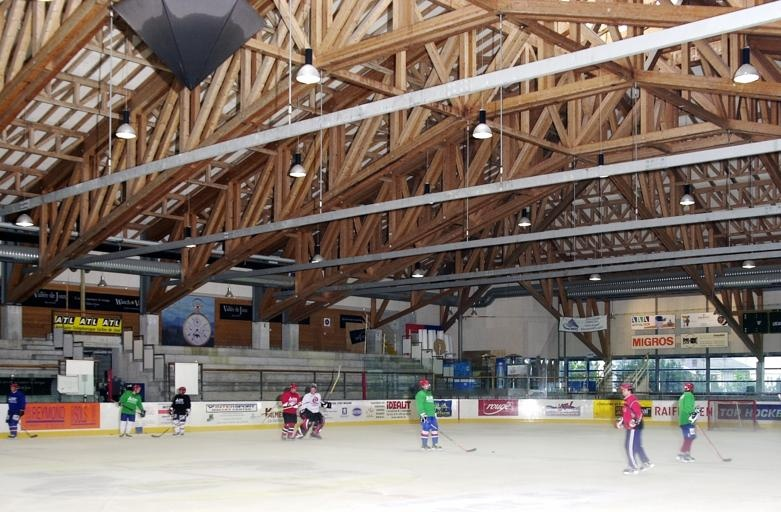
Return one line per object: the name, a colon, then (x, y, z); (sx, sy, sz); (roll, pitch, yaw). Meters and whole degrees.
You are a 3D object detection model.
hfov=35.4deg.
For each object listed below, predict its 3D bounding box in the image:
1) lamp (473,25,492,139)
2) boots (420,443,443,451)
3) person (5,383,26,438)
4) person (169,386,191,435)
lamp: (2.861, -5.344, 38.772); (0.554, 3.130, 0.658); (-1, -10, 10)
boots: (1.339, 6.387, 40.661); (0.635, 0.288, 0.245); (-3, -1, -2)
person: (-13.486, 5.543, 43.878); (0.644, 1.887, 1.412); (2, -14, -17)
person: (-7.855, 5.762, 45.431); (0.646, 1.671, 1.236); (1, -13, -10)
